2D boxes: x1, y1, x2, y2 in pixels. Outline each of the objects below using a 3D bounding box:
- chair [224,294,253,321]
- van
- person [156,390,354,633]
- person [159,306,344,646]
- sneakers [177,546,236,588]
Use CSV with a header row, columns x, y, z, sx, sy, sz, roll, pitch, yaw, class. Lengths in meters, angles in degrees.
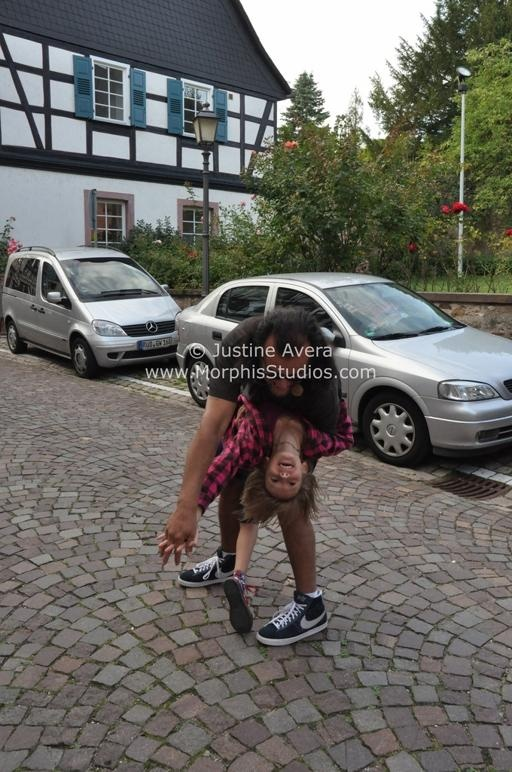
x,y,z,sx,sy,sz,roll,pitch,yaw,class
-0.185,-0.851,6.378,0.260,0.188,0.398,-7,17,-30,chair
-2.814,-1.270,10.321,3.506,1.855,2.095,19,22,41,van
0.060,0.337,2.298,0.490,0.435,1.295,-2,38,5,person
-0.016,0.338,2.061,0.590,1.209,0.978,4,11,11,person
-0.228,0.860,2.799,0.379,0.172,0.126,1,12,-13,sneakers
